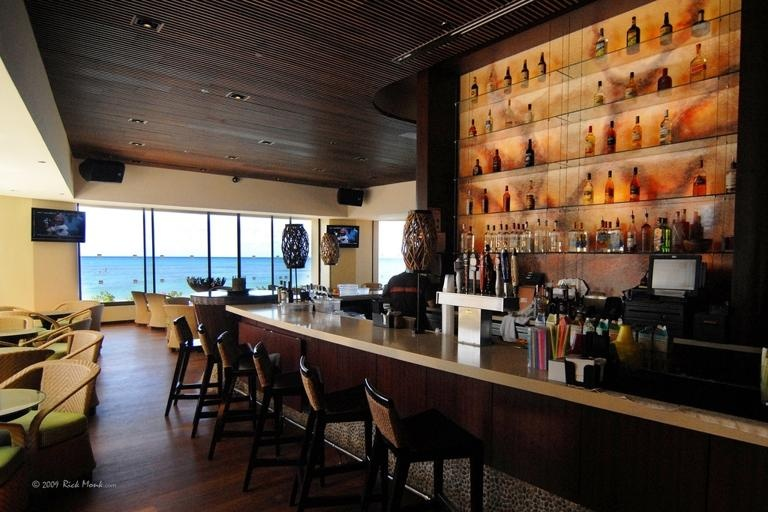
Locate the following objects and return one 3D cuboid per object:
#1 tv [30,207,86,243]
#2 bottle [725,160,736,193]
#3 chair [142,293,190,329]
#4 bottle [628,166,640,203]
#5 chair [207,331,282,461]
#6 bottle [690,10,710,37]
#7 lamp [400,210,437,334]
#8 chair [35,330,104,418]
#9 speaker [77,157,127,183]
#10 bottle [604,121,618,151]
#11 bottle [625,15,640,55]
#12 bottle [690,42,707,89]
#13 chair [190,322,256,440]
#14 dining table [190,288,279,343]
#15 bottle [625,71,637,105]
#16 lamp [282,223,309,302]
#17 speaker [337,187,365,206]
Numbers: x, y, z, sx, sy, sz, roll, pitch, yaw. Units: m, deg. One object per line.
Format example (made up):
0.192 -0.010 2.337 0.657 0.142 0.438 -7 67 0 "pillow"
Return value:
-7.036 -0.654 11.039 0.850 0.571 0.086 2 -2 -36 "tv"
3.207 -0.734 4.777 0.083 0.299 0.296 6 11 32 "bottle"
-4.567 1.052 11.232 0.929 0.962 0.929 0 0 37 "chair"
2.622 -0.754 5.388 0.106 0.341 0.131 4 11 24 "bottle"
-1.618 1.543 5.699 0.739 1.151 0.716 6 -1 -15 "chair"
3.004 -2.216 4.886 0.145 0.270 0.165 5 11 28 "bottle"
0.366 0.112 5.258 0.322 1.185 0.890 1 10 9 "lamp"
-3.346 1.171 5.390 0.709 0.759 0.672 3 -8 33 "chair"
-5.715 -1.687 10.468 0.724 0.473 0.533 -3 -4 -43 "speaker"
2.397 -1.264 5.441 0.115 0.345 0.188 3 10 19 "bottle"
2.528 -2.251 5.246 0.140 0.376 0.150 0 10 0 "bottle"
3.014 -1.849 4.938 0.138 0.377 0.136 0 10 0 "bottle"
-1.624 1.419 5.673 0.641 0.865 0.625 8 4 34 "chair"
-2.261 0.816 7.389 0.837 0.557 0.822 0 -6 -3 "dining table"
2.536 -1.753 5.286 0.115 0.291 0.161 4 11 23 "bottle"
-1.143 -0.115 6.567 0.334 0.597 0.265 -3 10 -12 "lamp"
-0.940 -1.579 14.217 0.859 0.453 0.587 4 23 -25 "speaker"
